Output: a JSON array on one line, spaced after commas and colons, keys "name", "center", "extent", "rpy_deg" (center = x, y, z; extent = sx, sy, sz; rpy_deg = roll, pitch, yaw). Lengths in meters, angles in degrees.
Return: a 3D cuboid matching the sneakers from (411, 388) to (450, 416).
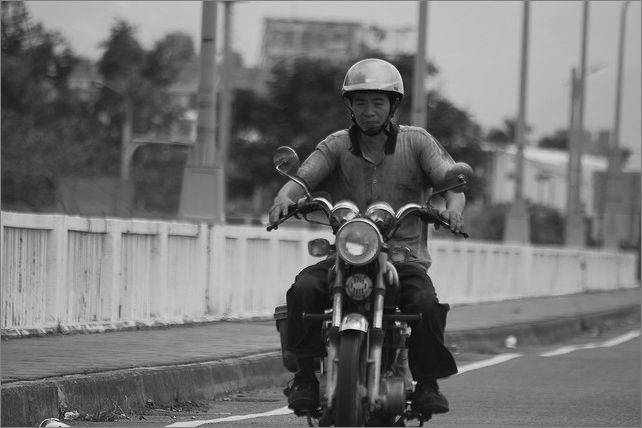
[{"name": "sneakers", "center": [1.149, 1.961, 16.113], "extent": [0.408, 0.280, 0.222], "rpy_deg": [6, -14, -15]}]
